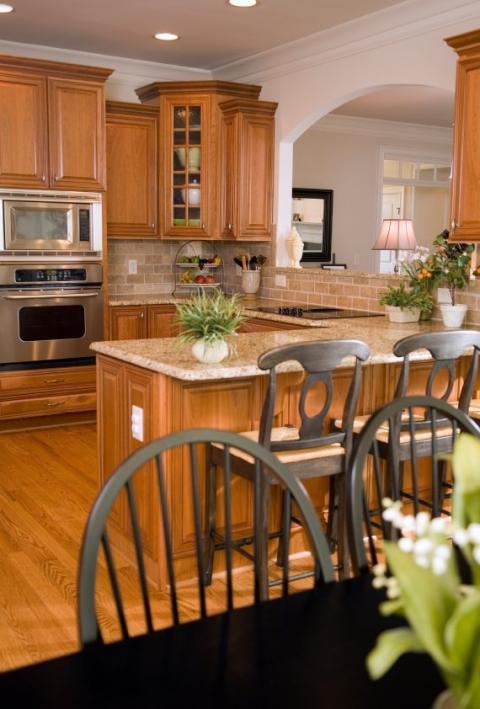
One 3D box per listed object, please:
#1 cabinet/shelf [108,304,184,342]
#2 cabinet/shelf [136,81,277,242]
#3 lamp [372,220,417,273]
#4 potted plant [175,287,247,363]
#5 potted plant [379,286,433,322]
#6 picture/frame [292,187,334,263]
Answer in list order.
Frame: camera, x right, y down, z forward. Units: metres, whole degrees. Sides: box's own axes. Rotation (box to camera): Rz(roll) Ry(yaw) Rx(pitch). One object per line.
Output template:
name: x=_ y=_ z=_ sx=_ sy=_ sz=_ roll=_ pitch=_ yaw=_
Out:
cabinet/shelf: x=-0.855 y=-0.282 z=4.633 sx=0.352 sy=0.339 sz=0.138 roll=-5 pitch=10 yaw=-26
cabinet/shelf: x=-0.269 y=-1.576 z=5.386 sx=1.616 sy=1.771 sz=1.296 roll=-1 pitch=5 yaw=-7
lamp: x=1.294 y=-0.987 z=4.446 sx=0.334 sy=0.264 sz=0.160 roll=6 pitch=12 yaw=30
potted plant: x=-0.115 y=-0.115 z=2.305 sx=0.320 sy=0.358 sz=0.345 roll=0 pitch=3 yaw=-8
potted plant: x=1.140 y=-0.339 z=3.593 sx=0.275 sy=0.185 sz=0.279 roll=-5 pitch=14 yaw=-25
picture/frame: x=0.952 y=-1.670 z=6.953 sx=0.638 sy=0.948 sz=0.175 roll=-6 pitch=12 yaw=-33
